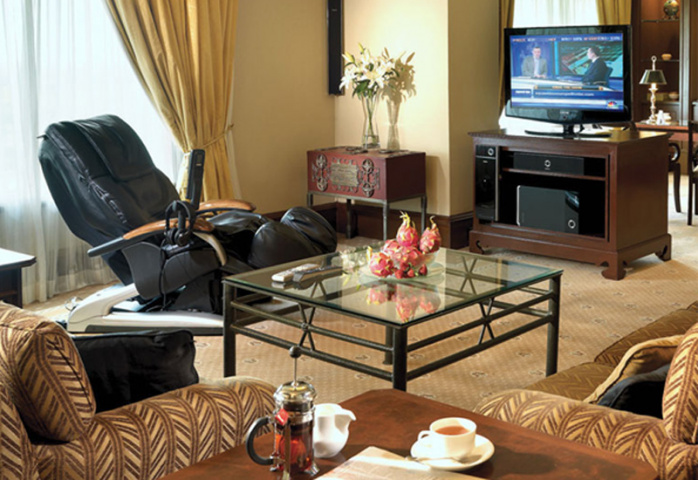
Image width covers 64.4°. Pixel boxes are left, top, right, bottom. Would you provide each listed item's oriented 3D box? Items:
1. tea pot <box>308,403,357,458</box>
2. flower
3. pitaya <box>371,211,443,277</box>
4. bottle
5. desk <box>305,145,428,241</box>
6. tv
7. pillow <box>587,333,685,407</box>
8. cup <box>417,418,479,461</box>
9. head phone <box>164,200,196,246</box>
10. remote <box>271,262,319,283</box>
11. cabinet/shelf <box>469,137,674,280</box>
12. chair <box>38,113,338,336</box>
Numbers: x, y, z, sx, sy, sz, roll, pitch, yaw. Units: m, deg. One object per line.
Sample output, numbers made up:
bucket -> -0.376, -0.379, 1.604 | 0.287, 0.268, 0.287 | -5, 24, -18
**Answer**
tea pot -> -0.040, 0.430, 1.317 | 0.110, 0.105, 0.122 | 1, 13, 8
flower -> 0.199, -1.327, 5.226 | 0.508, 0.920, 0.386 | -11, 17, -36
pitaya -> 0.260, 0.016, 2.725 | 0.260, 0.312, 0.307 | -12, 16, -43
bottle -> -0.141, 0.407, 1.217 | 0.145, 0.212, 0.094 | 14, 19, 39
desk -> 0.169, -0.421, 5.500 | 0.693, 0.976, 1.089 | -11, 17, -40
tv -> 1.829, -1.336, 4.628 | 1.066, 0.903, 0.219 | 3, 11, 31
pillow -> 0.838, 0.393, 1.729 | 0.266, 0.081, 0.266 | -32, 6, -34
cup -> 0.224, 0.438, 1.243 | 0.107, 0.070, 0.127 | -3, 11, -11
head phone -> -0.982, -0.095, 3.226 | 0.106, 0.278, 0.220 | -12, 23, -40
remote -> -0.264, 0.149, 2.662 | 0.093, 0.030, 0.180 | 8, 18, 44
cabinet/shelf -> 1.848, -0.347, 4.688 | 1.650, 1.160, 0.744 | 2, 12, 22
chair -> -1.233, 0.003, 3.968 | 1.429, 1.748, 0.771 | 0, 3, -1
